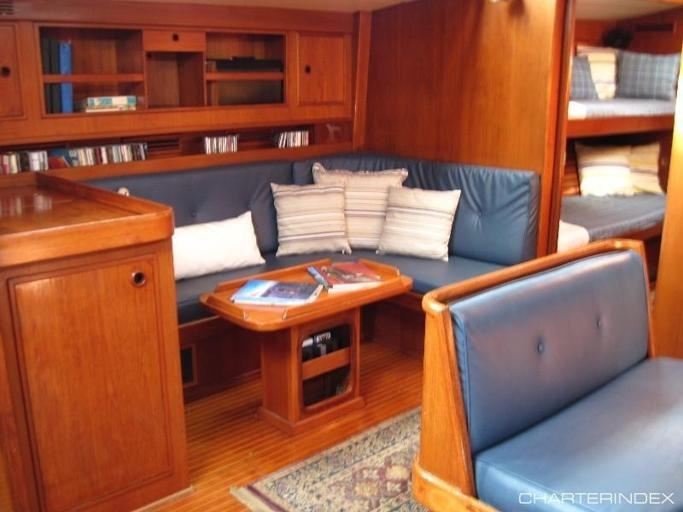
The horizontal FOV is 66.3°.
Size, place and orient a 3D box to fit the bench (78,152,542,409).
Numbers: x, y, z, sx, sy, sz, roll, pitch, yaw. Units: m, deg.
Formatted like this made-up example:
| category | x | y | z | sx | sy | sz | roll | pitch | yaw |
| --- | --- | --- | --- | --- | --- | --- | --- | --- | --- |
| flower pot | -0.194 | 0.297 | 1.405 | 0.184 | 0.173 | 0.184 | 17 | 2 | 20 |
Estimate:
| category | x | y | z | sx | sy | sz | roll | pitch | yaw |
| --- | --- | --- | --- | --- | --- | --- | --- | --- | --- |
| bench | 0.170 | -0.210 | 3.132 | 2.079 | 1.016 | 1.405 | -16 | 21 | -42 |

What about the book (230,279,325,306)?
| category | x | y | z | sx | sy | sz | roll | pitch | yaw |
| --- | --- | --- | --- | --- | --- | --- | --- | --- | --- |
| book | -0.289 | 0.166 | 2.367 | 0.379 | 0.036 | 0.217 | 0 | 17 | 10 |

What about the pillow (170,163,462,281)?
| category | x | y | z | sx | sy | sz | roll | pitch | yaw |
| --- | --- | --- | --- | --- | --- | --- | --- | --- | --- |
| pillow | -0.138 | -0.201 | 3.025 | 0.789 | 0.462 | 1.036 | 16 | 22 | 38 |

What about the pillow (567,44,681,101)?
| category | x | y | z | sx | sy | sz | roll | pitch | yaw |
| --- | --- | --- | --- | --- | --- | --- | --- | --- | --- |
| pillow | 2.263 | -1.465 | 4.188 | 0.855 | 0.464 | 0.323 | 0 | 17 | 10 |

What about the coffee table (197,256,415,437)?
| category | x | y | z | sx | sy | sz | roll | pitch | yaw |
| --- | --- | --- | --- | --- | --- | --- | --- | --- | --- |
| coffee table | -0.170 | 0.410 | 2.526 | 1.147 | 0.776 | 0.678 | -14 | 20 | -42 |
